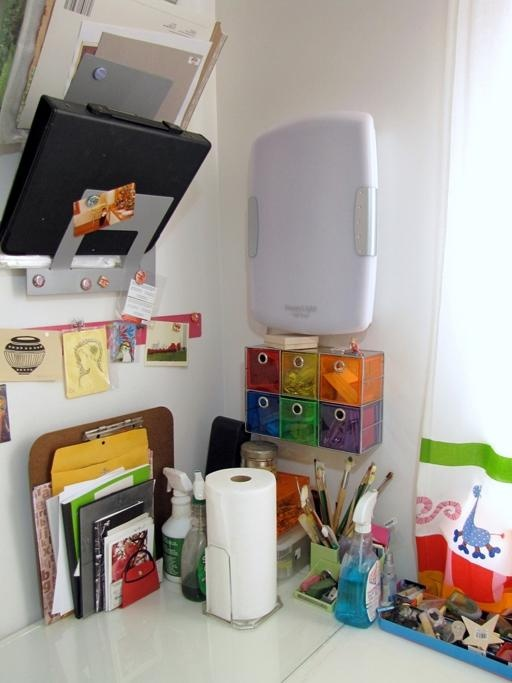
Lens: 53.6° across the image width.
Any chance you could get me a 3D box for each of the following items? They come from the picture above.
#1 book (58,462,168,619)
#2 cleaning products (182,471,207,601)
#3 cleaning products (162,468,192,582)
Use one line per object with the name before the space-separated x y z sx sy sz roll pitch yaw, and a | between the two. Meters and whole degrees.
book | -0.274 0.364 0.931 0.098 0.217 0.190 21 19 41
cleaning products | -0.108 0.372 0.978 0.086 0.246 0.091 0 4 -4
cleaning products | -0.158 0.377 1.051 0.081 0.213 0.083 -4 -7 40
